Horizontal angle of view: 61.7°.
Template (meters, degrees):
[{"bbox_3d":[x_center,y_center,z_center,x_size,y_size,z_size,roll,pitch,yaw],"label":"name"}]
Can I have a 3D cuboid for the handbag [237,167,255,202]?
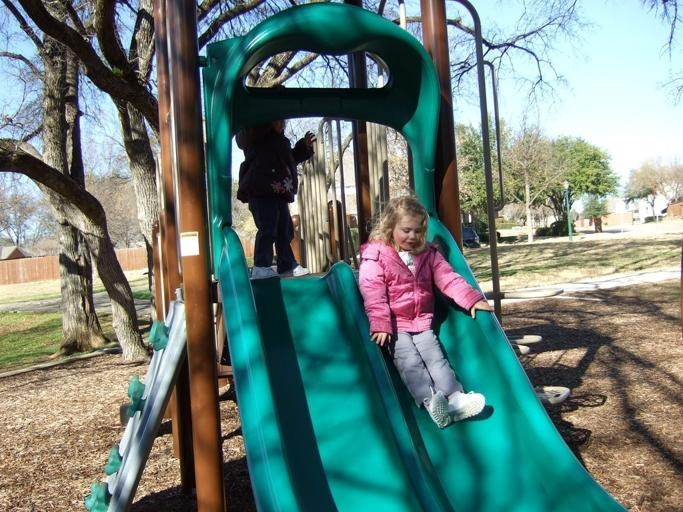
[{"bbox_3d":[-0.903,-0.666,5.291,0.079,0.286,0.184,-4,8,2],"label":"handbag"}]

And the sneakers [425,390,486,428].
[{"bbox_3d":[0.721,0.976,3.588,0.306,0.241,0.167,-8,-23,7],"label":"sneakers"}]

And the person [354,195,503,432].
[{"bbox_3d":[0.507,0.345,4.031,0.747,0.935,1.543,-5,40,-13],"label":"person"}]
